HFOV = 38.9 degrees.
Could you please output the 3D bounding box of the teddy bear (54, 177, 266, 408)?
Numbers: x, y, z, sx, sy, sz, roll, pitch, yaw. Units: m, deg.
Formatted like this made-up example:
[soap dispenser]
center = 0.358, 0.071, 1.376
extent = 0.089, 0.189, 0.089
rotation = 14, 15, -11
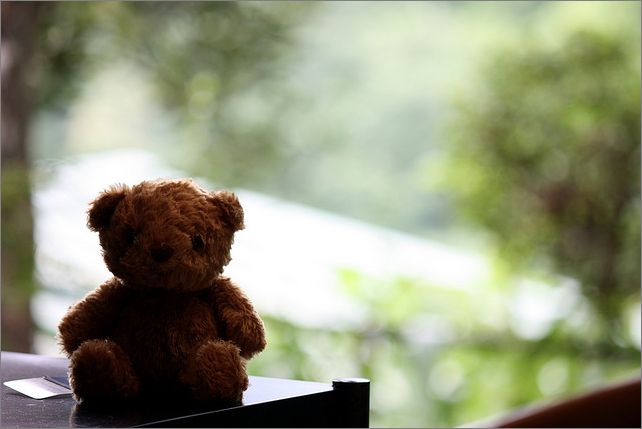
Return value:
[teddy bear]
center = -0.369, 0.176, 2.113
extent = 0.474, 0.512, 0.279
rotation = 2, 2, -1
